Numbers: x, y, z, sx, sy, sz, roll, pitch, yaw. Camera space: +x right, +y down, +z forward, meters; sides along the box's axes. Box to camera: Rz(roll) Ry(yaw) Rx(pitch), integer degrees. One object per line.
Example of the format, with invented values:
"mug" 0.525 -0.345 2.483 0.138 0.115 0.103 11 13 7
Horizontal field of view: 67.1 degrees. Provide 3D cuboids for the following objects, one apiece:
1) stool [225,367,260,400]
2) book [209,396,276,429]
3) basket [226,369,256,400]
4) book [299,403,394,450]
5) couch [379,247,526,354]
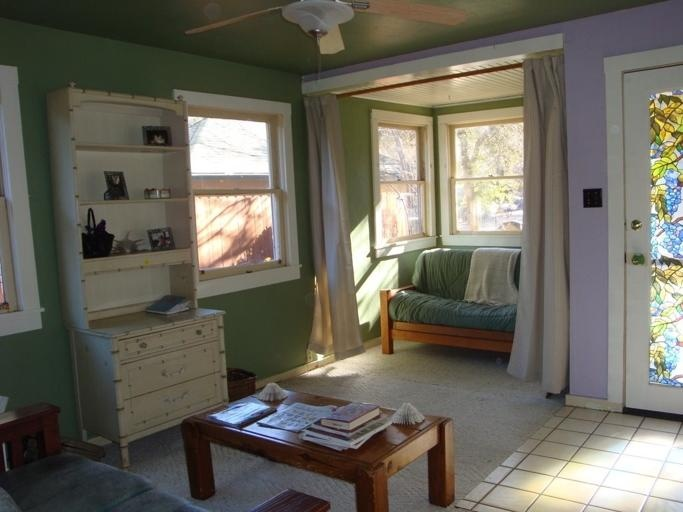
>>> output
"stool" -0.905 1.112 4.496 0.199 0.183 0.244 -1 -1 -40
"book" -0.616 0.988 3.250 0.220 0.034 0.242 4 7 33
"basket" -0.940 1.084 4.473 0.254 0.187 0.319 5 -2 43
"book" -0.012 0.948 2.801 0.237 0.062 0.255 -1 8 39
"couch" 1.350 0.500 5.764 1.564 1.112 0.898 1 3 36
